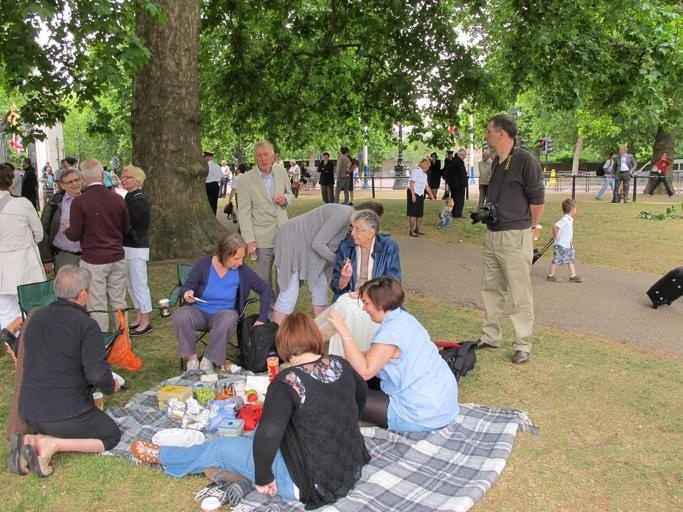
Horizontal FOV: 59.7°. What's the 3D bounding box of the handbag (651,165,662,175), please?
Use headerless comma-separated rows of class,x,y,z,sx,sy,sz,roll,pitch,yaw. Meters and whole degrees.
handbag,12.864,-3.519,24.299,0.382,0.336,0.263,6,7,33

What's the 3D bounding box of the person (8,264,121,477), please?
person,-2.500,1.007,5.360,0.933,1.811,0.450,-1,7,-26

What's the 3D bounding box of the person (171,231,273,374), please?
person,-1.450,0.588,7.127,1.106,1.598,1.114,9,10,8

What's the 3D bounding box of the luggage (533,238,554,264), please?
luggage,4.043,-0.078,11.930,0.203,0.600,0.230,38,12,-14

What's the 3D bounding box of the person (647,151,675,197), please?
person,13.111,-3.344,24.328,0.847,1.813,1.552,5,7,27

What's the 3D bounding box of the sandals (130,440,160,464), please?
sandals,-1.759,1.755,5.376,0.291,0.162,0.105,20,14,16

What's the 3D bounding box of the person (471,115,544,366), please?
person,2.072,-0.205,7.282,0.682,2.992,0.436,4,7,20

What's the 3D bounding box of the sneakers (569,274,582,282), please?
sneakers,4.299,0.418,10.897,0.218,0.105,0.098,1,19,-13

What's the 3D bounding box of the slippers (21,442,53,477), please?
slippers,-2.663,1.781,5.218,0.134,0.361,0.126,-23,16,2

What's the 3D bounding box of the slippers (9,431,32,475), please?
slippers,-2.809,1.739,5.248,0.150,0.379,0.143,-4,-9,15

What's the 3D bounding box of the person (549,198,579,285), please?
person,4.169,-0.294,11.061,0.575,1.494,0.860,4,7,21

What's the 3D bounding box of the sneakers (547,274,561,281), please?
sneakers,3.969,0.408,11.074,0.269,0.135,0.094,-6,13,-32

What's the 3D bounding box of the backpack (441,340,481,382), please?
backpack,1.373,1.154,6.840,0.401,0.196,0.407,-27,15,-26
